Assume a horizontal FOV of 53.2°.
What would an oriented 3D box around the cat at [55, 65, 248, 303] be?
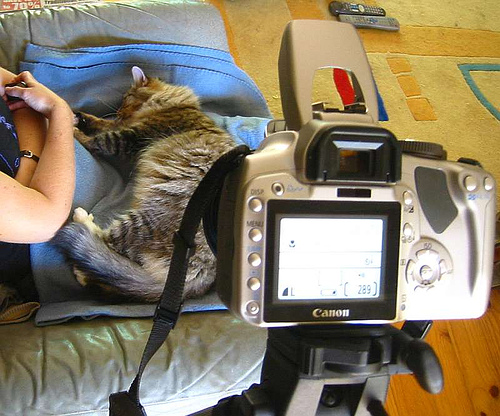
[{"bbox_3d":[-0.263,-0.049,1.231,0.689,0.206,0.588,3,98,-4],"label":"cat"}]
